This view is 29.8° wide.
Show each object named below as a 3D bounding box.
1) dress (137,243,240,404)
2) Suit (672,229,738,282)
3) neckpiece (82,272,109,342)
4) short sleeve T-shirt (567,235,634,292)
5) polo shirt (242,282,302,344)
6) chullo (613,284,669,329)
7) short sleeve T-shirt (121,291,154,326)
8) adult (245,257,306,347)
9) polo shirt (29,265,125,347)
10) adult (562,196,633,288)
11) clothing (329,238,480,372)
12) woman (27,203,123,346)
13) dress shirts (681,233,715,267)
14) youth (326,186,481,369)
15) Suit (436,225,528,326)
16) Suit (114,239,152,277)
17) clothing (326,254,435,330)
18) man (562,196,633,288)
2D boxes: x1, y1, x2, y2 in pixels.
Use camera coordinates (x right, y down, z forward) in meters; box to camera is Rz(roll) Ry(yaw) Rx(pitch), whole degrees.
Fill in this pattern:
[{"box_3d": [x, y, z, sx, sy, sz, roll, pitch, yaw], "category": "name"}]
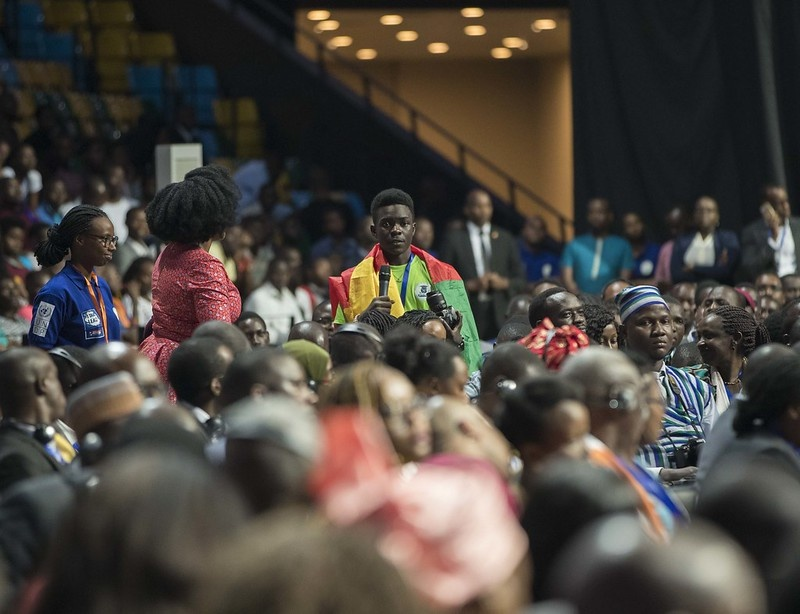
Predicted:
[{"box_3d": [-1.353, 0.130, 9.680, 0.598, 0.977, 1.003, -13, 19, -39], "category": "dress"}, {"box_3d": [3.097, -0.472, 14.803, 0.629, 0.571, 0.351, 0, -4, 35], "category": "Suit"}, {"box_3d": [-2.090, -0.004, 10.462, 0.085, 0.383, 0.235, -17, 2, -8], "category": "neckpiece"}, {"box_3d": [2.082, -0.474, 15.304, 0.722, 0.750, 0.395, -3, 32, 5], "category": "short sleeve T-shirt"}, {"box_3d": [-1.160, 0.073, 13.978, 0.546, 0.448, 0.289, 7, -20, -45], "category": "polo shirt"}, {"box_3d": [1.815, -0.053, 10.833, 0.330, 0.219, 0.311, -16, -18, 30], "category": "chullo"}, {"box_3d": [-2.333, 0.026, 13.359, 0.165, 0.281, 0.313, -3, 1, 20], "category": "short sleeve T-shirt"}, {"box_3d": [-1.170, -0.043, 15.427, 0.602, 1.025, 0.547, 9, 42, -4], "category": "adult"}, {"box_3d": [-2.203, 0.027, 10.493, 0.420, 0.645, 0.777, 0, 8, 37], "category": "polo shirt"}, {"box_3d": [2.091, -0.541, 15.155, 0.779, 1.218, 0.742, 3, -13, -1], "category": "adult"}, {"box_3d": [-0.003, -0.078, 11.339, 1.395, 1.201, 0.828, -1, -20, -2], "category": "clothing"}, {"box_3d": [-2.241, -0.044, 10.512, 0.504, 1.224, 0.767, 2, 4, 30], "category": "woman"}, {"box_3d": [3.028, -0.542, 14.789, 0.280, 0.368, 0.199, 5, -21, 18], "category": "dress shirts"}, {"box_3d": [0.132, 0.124, 11.114, 1.089, 1.822, 0.541, -8, -14, 6], "category": "youth"}, {"box_3d": [0.913, -0.271, 14.567, 0.793, 1.010, 0.275, 0, -23, -19], "category": "Suit"}, {"box_3d": [-2.495, -0.441, 14.070, 0.427, 0.325, 0.228, -5, -15, -45], "category": "Suit"}, {"box_3d": [-0.118, -0.123, 11.151, 0.730, 0.448, 0.437, -8, 10, -5], "category": "clothing"}, {"box_3d": [2.072, -0.541, 15.154, 0.794, 1.220, 0.721, 1, -14, 7], "category": "man"}]
